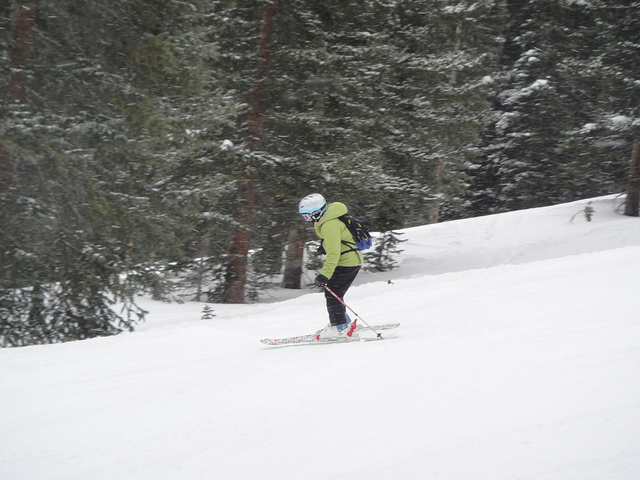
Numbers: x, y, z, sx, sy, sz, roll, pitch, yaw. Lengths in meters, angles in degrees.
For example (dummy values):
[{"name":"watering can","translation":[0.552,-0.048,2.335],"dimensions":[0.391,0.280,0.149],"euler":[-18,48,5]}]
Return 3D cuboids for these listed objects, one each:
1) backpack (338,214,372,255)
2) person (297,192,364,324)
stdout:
[{"name":"backpack","translation":[0.565,-0.090,13.773],"dimensions":[0.537,0.663,0.256],"euler":[-5,4,-10]},{"name":"person","translation":[0.234,0.320,13.709],"dimensions":[0.999,2.152,0.726],"euler":[-5,4,2]}]
